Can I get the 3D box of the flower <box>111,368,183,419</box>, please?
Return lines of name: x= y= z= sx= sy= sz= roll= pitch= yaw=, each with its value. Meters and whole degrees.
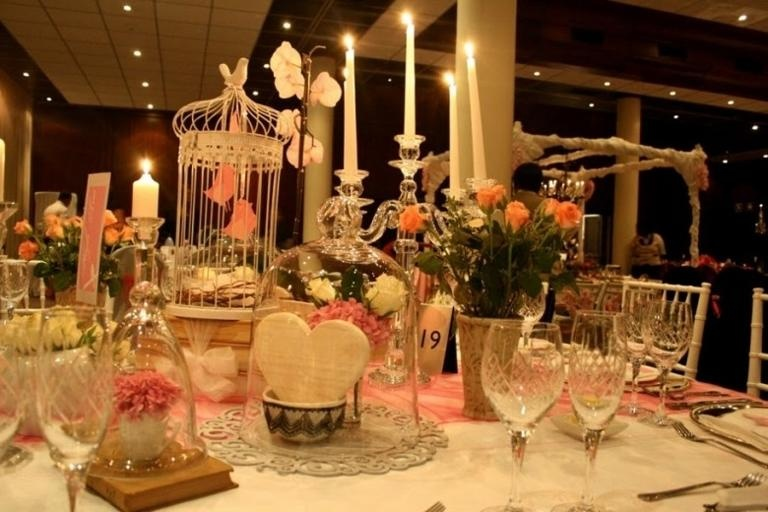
flower: x=-0.489 y=0.268 z=1.165 sx=0.143 sy=0.071 sz=0.142 roll=2 pitch=2 yaw=-41

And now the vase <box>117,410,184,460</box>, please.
vase: x=-0.456 y=0.350 z=1.143 sx=0.119 sy=0.099 sz=0.100 roll=-6 pitch=-7 yaw=33

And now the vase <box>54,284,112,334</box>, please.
vase: x=-0.633 y=0.107 z=1.224 sx=0.110 sy=0.125 sz=0.110 roll=1 pitch=7 yaw=-13

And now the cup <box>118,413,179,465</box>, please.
cup: x=-0.448 y=0.351 z=1.110 sx=0.097 sy=0.073 sz=0.078 roll=5 pitch=-8 yaw=-21

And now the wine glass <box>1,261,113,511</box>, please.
wine glass: x=-0.711 y=0.244 z=1.168 sx=0.129 sy=0.370 sz=0.752 roll=0 pitch=5 yaw=-39

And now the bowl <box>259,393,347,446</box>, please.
bowl: x=-0.182 y=0.342 z=1.273 sx=0.128 sy=0.066 sz=0.126 roll=1 pitch=-3 yaw=0

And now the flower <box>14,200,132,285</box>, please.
flower: x=-1.013 y=-0.022 z=1.909 sx=0.371 sy=0.276 sz=0.372 roll=2 pitch=1 yaw=-10

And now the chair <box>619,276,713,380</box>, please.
chair: x=1.077 y=0.317 z=2.261 sx=0.311 sy=0.434 sz=0.306 roll=9 pitch=-8 yaw=-21

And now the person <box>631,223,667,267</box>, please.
person: x=4.628 y=-0.171 z=10.185 sx=0.470 sy=0.712 sz=0.739 roll=12 pitch=-16 yaw=-41

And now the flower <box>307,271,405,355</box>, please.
flower: x=-0.090 y=0.130 z=1.357 sx=0.199 sy=0.129 sz=0.181 roll=13 pitch=15 yaw=35

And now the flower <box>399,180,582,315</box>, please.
flower: x=0.253 y=-0.058 z=1.629 sx=0.396 sy=0.290 sz=0.397 roll=3 pitch=3 yaw=-18
